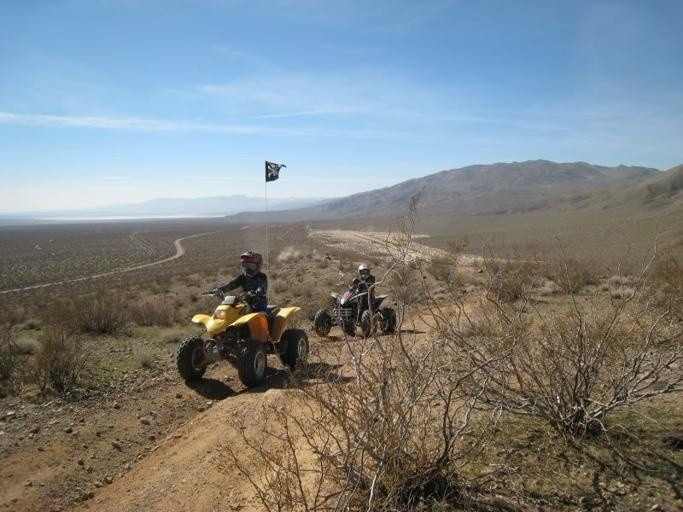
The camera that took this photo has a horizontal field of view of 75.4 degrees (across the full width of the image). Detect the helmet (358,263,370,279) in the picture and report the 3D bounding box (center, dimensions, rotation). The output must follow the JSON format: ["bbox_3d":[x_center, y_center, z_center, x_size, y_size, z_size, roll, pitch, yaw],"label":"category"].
[{"bbox_3d":[0.642,0.456,12.746,0.280,0.382,0.392,0,-13,-4],"label":"helmet"}]

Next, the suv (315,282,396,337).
[{"bbox_3d":[0.285,1.545,11.913,1.501,1.657,2.328,-4,-11,27],"label":"suv"}]

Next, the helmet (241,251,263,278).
[{"bbox_3d":[-2.146,0.156,10.492,0.400,0.509,0.589,2,9,4],"label":"helmet"}]

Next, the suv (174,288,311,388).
[{"bbox_3d":[-2.067,1.772,10.163,1.918,2.154,2.894,-6,-9,28],"label":"suv"}]
